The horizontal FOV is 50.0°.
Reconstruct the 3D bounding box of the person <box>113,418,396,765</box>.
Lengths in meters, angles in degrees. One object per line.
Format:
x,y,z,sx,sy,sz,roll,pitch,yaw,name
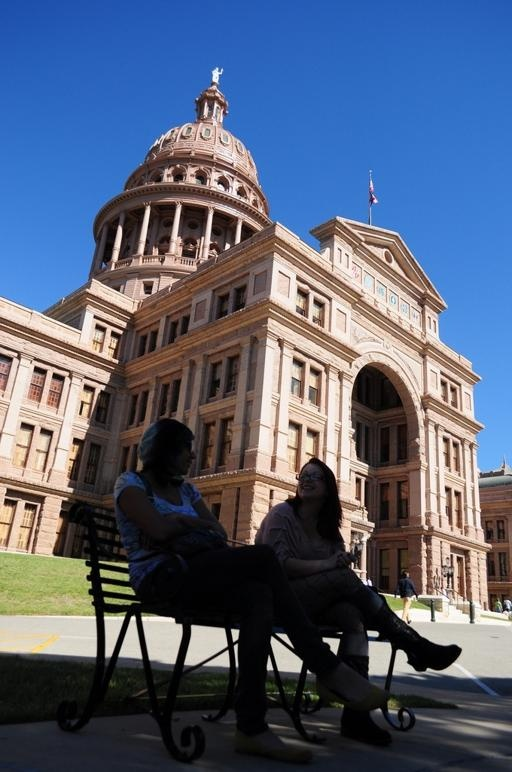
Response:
-0.163,0.916,2.846,1.383,1.585,0.563,-3,-21,23,person

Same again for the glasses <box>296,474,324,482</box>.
0.396,0.663,3.968,0.142,0.042,0.146,-2,-34,21,glasses

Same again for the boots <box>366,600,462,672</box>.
0.970,1.518,3.285,0.455,0.307,0.164,-20,-46,27,boots

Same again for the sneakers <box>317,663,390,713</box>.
0.431,1.483,2.655,0.360,0.146,0.198,22,-7,13,sneakers

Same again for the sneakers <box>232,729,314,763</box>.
0.058,1.560,2.422,0.367,0.143,0.124,-10,-26,24,sneakers
